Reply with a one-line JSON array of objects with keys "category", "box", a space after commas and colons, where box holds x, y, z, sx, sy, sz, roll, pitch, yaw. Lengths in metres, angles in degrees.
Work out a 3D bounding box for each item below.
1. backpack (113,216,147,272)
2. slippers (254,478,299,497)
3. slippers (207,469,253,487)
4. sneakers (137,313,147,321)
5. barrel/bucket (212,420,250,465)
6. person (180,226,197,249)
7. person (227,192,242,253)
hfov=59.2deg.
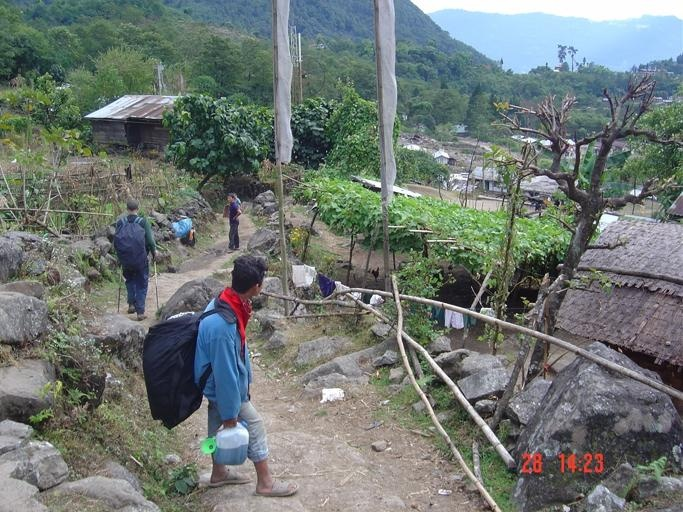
[{"category": "backpack", "box": [-3.214, -0.164, 9.233, 0.451, 0.853, 0.409, -3, 14, -20]}, {"category": "slippers", "box": [-0.610, 2.247, 5.791, 0.298, 0.129, 0.179, -1, -1, -5]}, {"category": "slippers", "box": [-1.101, 2.191, 5.916, 0.325, 0.137, 0.170, 0, -1, -15]}, {"category": "sneakers", "box": [-3.186, 0.972, 9.676, 0.050, 0.113, 0.150, 4, 14, 13]}, {"category": "barrel/bucket", "box": [-1.025, 1.722, 5.655, 0.313, 0.384, 0.230, 4, 22, -15]}, {"category": "person", "box": [-4.099, -0.501, 16.358, 0.254, 0.524, 0.775, 3, 14, 7]}, {"category": "person", "box": [-2.979, -1.017, 16.793, 0.322, 1.605, 2.255, -1, 14, -10]}]
